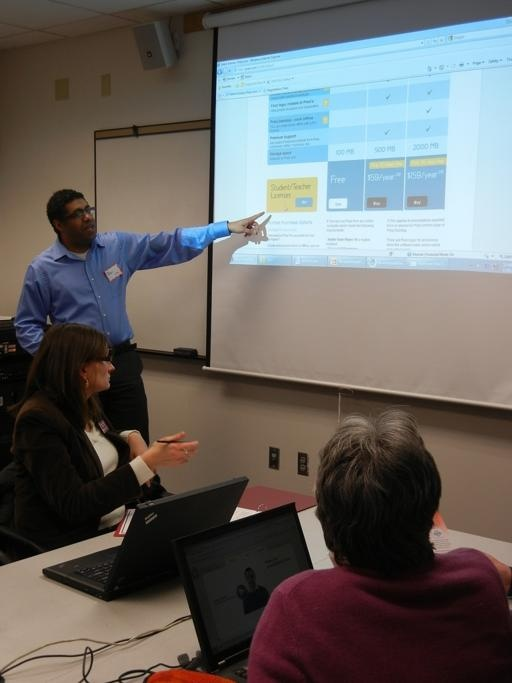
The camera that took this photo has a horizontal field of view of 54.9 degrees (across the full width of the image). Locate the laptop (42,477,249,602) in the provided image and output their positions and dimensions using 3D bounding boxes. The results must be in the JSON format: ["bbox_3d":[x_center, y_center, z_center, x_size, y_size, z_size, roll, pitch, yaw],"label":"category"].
[{"bbox_3d":[-0.302,0.484,1.217,0.381,0.224,0.394,13,-10,-15],"label":"laptop"}]

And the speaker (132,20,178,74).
[{"bbox_3d":[-0.672,-1.977,3.314,0.245,0.249,0.133,16,39,38],"label":"speaker"}]

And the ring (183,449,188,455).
[{"bbox_3d":[-0.220,0.346,1.539,0.013,0.013,0.004,4,0,34],"label":"ring"}]

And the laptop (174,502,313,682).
[{"bbox_3d":[-0.033,0.448,0.935,0.273,0.185,0.220,-11,12,-44],"label":"laptop"}]

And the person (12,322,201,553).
[{"bbox_3d":[-0.491,0.165,2.073,0.722,1.270,0.627,-5,12,-8],"label":"person"}]
